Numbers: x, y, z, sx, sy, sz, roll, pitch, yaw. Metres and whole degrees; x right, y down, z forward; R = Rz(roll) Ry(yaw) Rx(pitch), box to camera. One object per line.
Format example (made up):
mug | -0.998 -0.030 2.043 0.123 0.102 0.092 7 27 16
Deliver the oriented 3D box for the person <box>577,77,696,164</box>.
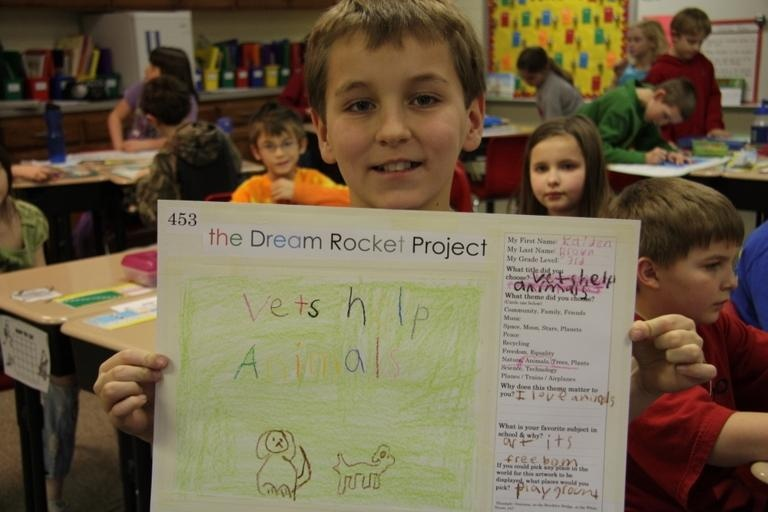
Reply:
person | 1.423 -0.887 4.698 0.860 0.527 0.498 10 17 39

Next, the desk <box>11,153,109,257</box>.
desk | -1.567 -0.229 3.646 0.362 0.349 0.348 -10 22 -32
